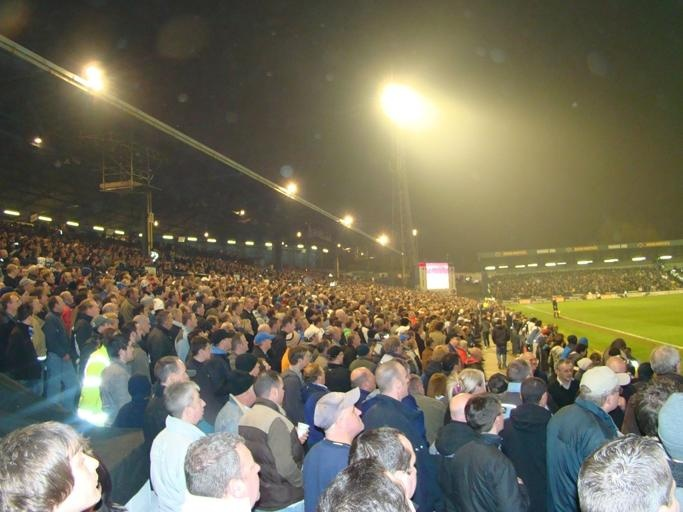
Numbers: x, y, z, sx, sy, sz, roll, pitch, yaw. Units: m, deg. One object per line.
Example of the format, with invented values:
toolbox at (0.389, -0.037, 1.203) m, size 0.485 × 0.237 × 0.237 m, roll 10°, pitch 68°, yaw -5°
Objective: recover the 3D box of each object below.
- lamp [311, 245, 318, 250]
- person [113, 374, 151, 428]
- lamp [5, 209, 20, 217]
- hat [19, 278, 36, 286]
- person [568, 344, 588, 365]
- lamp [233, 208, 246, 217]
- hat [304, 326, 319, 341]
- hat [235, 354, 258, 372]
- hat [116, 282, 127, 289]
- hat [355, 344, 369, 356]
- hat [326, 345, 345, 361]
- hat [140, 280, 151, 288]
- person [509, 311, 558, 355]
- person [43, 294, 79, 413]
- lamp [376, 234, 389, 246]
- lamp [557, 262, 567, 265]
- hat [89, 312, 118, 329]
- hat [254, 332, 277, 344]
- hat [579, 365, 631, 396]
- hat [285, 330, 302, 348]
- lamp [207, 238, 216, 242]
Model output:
lamp at (-3.496, -0.979, 66.201) m, size 0.506 × 0.343 × 0.587 m, roll -6°, pitch -21°, yaw 8°
person at (-3.156, 2.201, 7.866) m, size 0.617 × 0.871 × 0.457 m, roll 5°, pitch 6°, yaw 33°
lamp at (-17.819, -2.289, 28.210) m, size 0.174 × 0.327 × 0.861 m, roll 1°, pitch -6°, yaw 15°
hat at (-7.029, 0.588, 11.594) m, size 0.316 × 0.109 × 0.232 m, roll -6°, pitch -8°, yaw 30°
person at (5.112, 2.131, 11.295) m, size 0.299 × 0.360 × 1.031 m, roll -11°, pitch 5°, yaw 34°
lamp at (-6.979, -2.846, 35.591) m, size 0.416 × 0.609 × 1.067 m, roll -7°, pitch 9°, yaw 1°
hat at (-0.670, 1.662, 11.285) m, size 0.366 × 0.290 × 0.484 m, roll 0°, pitch -6°, yaw 18°
hat at (-1.535, 1.706, 8.468) m, size 0.238 × 0.252 × 0.301 m, roll -5°, pitch 13°, yaw 27°
hat at (-6.603, 0.890, 15.670) m, size 0.373 × 0.221 × 0.283 m, roll 5°, pitch 5°, yaw 37°
hat at (0.417, 1.830, 10.315) m, size 0.153 × 0.213 × 0.205 m, roll 1°, pitch -39°, yaw 4°
hat at (-0.101, 1.771, 9.453) m, size 0.211 × 0.295 × 0.271 m, roll 2°, pitch -11°, yaw 35°
hat at (-5.930, 0.823, 15.696) m, size 0.223 × 0.258 × 0.308 m, roll 7°, pitch -8°, yaw -9°
person at (7.542, 3.036, 20.657) m, size 0.676 × 0.953 × 2.289 m, roll -7°, pitch 1°, yaw -4°
person at (-5.290, 1.795, 9.851) m, size 0.661 × 2.031 × 0.603 m, roll 4°, pitch -6°, yaw -24°
lamp at (4.654, -1.697, 58.067) m, size 0.769 × 1.138 × 1.074 m, roll -13°, pitch 16°, yaw 37°
lamp at (34.859, 1.250, 83.152) m, size 2.028 × 0.335 × 0.153 m, roll 5°, pitch 2°, yaw -45°
hat at (-4.424, 1.148, 9.747) m, size 0.425 × 0.270 × 0.297 m, roll -20°, pitch 14°, yaw -38°
hat at (-1.545, 1.634, 10.412) m, size 0.309 × 0.185 × 0.201 m, roll -19°, pitch 13°, yaw -22°
hat at (3.638, 1.764, 7.159) m, size 0.693 × 0.294 × 0.465 m, roll -11°, pitch 10°, yaw -15°
hat at (-0.994, 1.694, 10.786) m, size 0.302 × 0.277 × 0.736 m, roll 3°, pitch -6°, yaw -6°
lamp at (-11.701, -1.357, 47.327) m, size 0.380 × 0.462 × 1.393 m, roll 1°, pitch -6°, yaw 13°
